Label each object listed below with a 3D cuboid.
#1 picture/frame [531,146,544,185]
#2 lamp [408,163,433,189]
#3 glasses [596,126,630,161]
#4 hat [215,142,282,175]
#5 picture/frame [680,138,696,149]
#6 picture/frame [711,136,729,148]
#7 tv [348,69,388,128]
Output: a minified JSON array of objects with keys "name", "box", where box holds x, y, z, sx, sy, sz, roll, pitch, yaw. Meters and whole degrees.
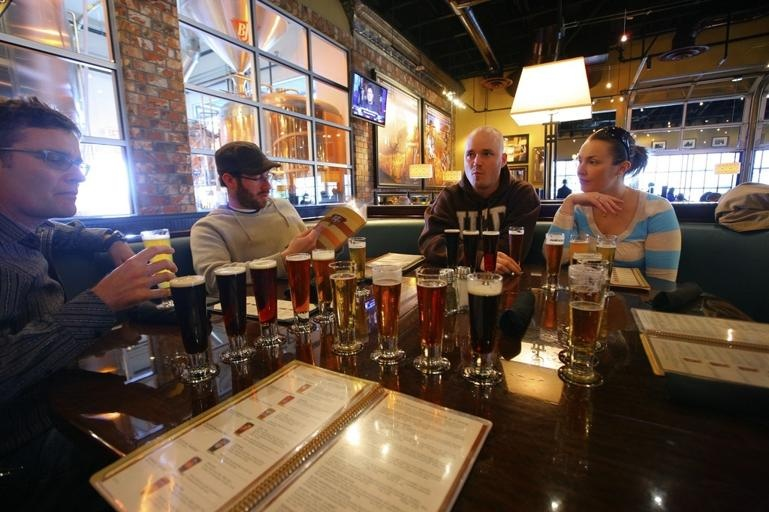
[{"name":"picture/frame","box":[3.557,-2.059,11.325,0.297,0.754,0.047,0,2,-17]},{"name":"lamp","box":[0.603,-1.432,8.697,0.515,0.310,0.498,-1,4,-26]},{"name":"glasses","box":[1.564,-0.736,3.314,0.200,0.234,0.095,1,10,29]},{"name":"hat","box":[-0.996,-0.721,3.549,0.347,0.228,0.488,5,16,45]},{"name":"picture/frame","box":[6.590,-2.453,10.736,0.245,0.206,0.026,6,41,38]},{"name":"picture/frame","box":[7.009,-2.388,10.314,0.025,0.207,0.243,-29,37,-23]},{"name":"tv","box":[-0.272,-2.356,7.423,0.111,0.610,1.093,7,10,24]}]
